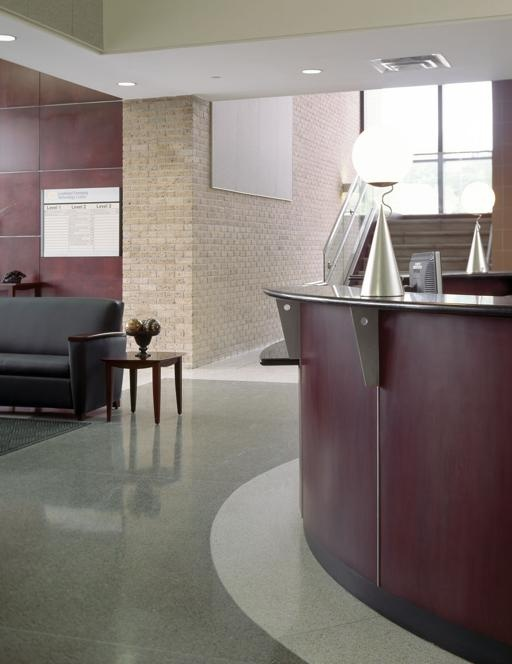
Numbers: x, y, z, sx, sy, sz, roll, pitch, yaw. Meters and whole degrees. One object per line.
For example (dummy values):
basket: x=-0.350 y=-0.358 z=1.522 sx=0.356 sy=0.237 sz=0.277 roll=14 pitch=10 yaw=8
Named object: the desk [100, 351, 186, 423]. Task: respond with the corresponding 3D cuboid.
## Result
desk: x=-1.123 y=0.537 z=5.179 sx=0.775 sy=0.536 sz=1.005 roll=0 pitch=0 yaw=-9
